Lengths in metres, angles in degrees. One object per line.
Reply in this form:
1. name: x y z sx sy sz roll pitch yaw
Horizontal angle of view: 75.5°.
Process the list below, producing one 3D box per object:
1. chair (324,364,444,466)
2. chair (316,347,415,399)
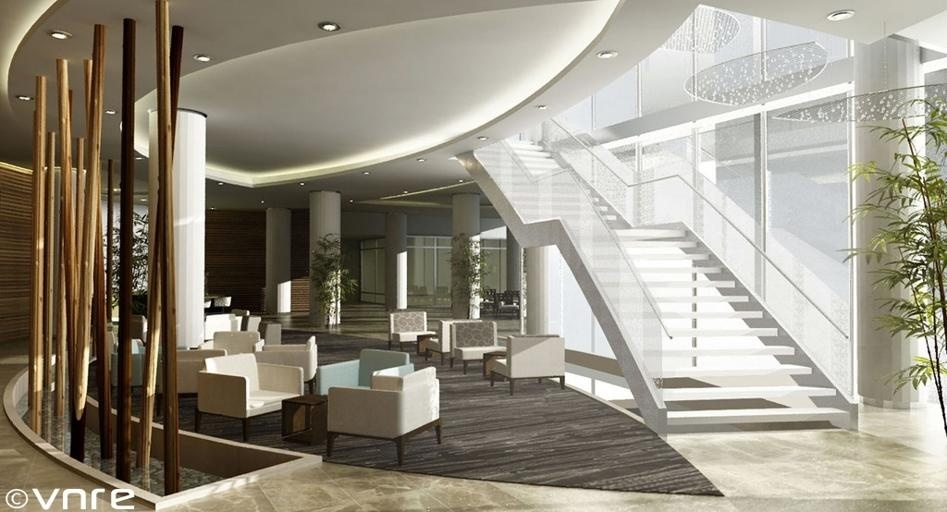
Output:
1. chair: -1.524 2.578 10.932 1.687 1.575 1.904 0 -5 21
2. chair: -2.244 2.280 11.902 1.130 1.096 1.170 -2 -8 26
